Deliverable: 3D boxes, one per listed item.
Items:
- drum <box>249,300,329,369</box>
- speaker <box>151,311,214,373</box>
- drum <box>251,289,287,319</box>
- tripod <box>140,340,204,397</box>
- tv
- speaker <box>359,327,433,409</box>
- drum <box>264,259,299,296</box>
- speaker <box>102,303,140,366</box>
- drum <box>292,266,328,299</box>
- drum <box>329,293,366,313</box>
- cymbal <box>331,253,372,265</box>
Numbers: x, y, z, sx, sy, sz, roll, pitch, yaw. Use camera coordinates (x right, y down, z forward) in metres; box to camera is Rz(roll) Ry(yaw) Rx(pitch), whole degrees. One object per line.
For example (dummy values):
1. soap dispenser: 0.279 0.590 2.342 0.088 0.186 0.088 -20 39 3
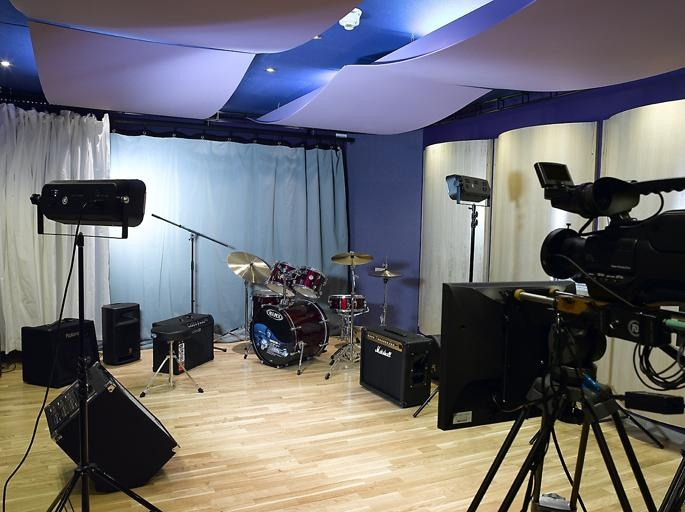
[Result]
1. drum: -0.555 0.693 5.920 0.659 0.857 0.832 -2 0 -44
2. speaker: -1.646 0.917 5.472 0.411 0.527 0.838 5 9 15
3. drum: -0.877 0.539 6.101 0.296 0.303 0.306 1 -1 10
4. tripod: -1.583 0.999 5.069 0.512 0.534 0.569 4 5 -1
5. tv: 0.697 0.414 2.272 0.615 0.633 0.203 0 4 -20
6. speaker: 0.478 0.994 5.009 0.352 0.617 0.690 -2 7 -32
7. drum: -0.652 0.268 5.801 0.362 0.281 0.375 19 -30 11
8. speaker: -2.353 0.807 5.720 0.333 0.586 0.377 12 -6 -18
9. drum: -0.384 0.290 5.745 0.323 0.345 0.253 9 12 41
10. drum: 0.051 0.516 5.766 0.393 0.227 0.302 1 9 -1
11. cymbal: 0.105 0.030 5.692 0.215 0.054 0.223 4 -11 -9
